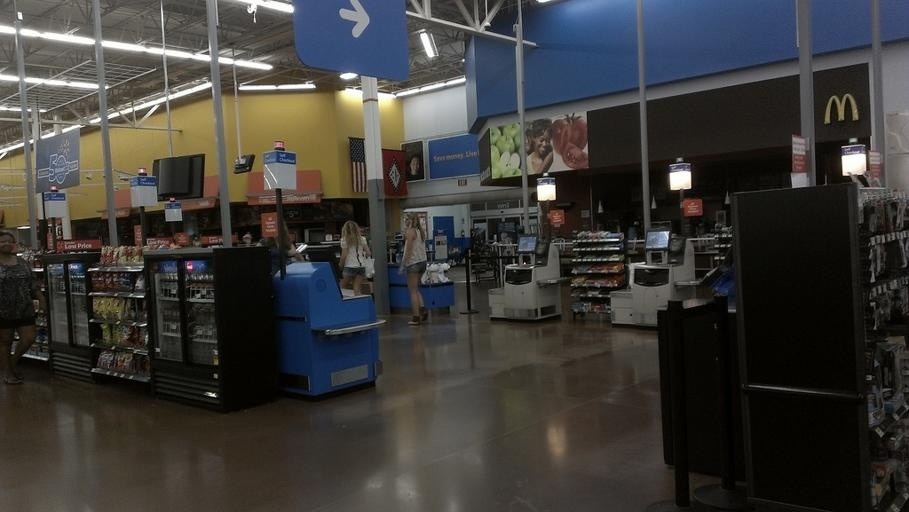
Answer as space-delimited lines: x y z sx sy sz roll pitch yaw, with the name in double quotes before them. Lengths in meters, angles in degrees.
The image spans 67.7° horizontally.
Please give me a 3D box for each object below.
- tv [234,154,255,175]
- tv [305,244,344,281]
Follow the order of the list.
"tv" -3.019 -1.329 9.735 0.247 0.256 0.546 -6 15 -11
"tv" -1.951 0.103 10.109 0.555 0.583 0.633 -6 -1 -42
